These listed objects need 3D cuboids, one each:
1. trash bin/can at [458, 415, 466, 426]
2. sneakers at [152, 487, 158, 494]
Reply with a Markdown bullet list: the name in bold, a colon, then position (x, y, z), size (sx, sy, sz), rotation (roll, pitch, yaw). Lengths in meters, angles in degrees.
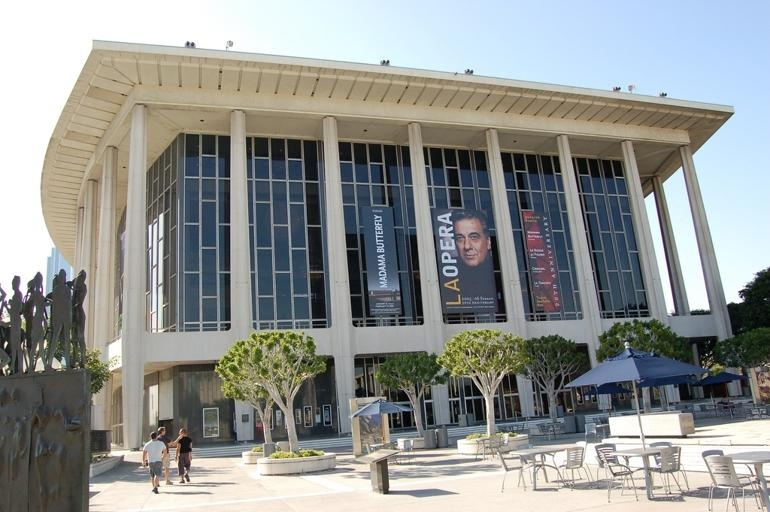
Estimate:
- **trash bin/can**: position (5.714, 12.204, 42.979), size (0.689, 0.931, 0.700), rotation (10, -18, -28)
- **sneakers**: position (-8.287, 8.411, 20.885), size (0.230, 0.244, 0.237), rotation (1, -9, -8)
